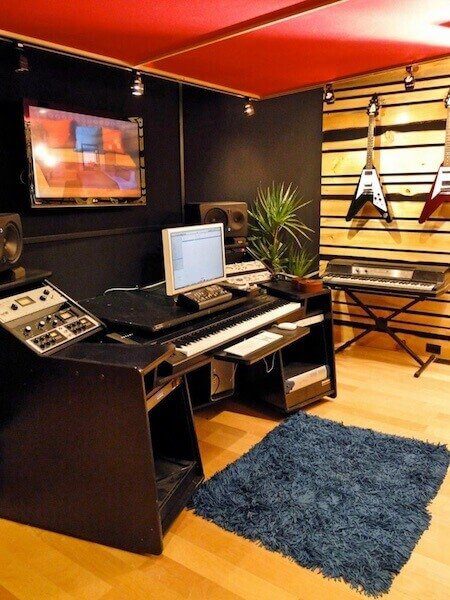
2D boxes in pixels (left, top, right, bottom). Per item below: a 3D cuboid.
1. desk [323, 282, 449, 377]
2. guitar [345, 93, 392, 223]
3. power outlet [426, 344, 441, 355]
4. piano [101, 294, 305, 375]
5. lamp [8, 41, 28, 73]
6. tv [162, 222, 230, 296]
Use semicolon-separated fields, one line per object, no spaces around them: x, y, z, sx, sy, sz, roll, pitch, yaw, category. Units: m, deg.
1.351;0.184;3.924;1.038;0.716;0.711;7;17;29;desk
1.227;-1.192;3.832;0.390;1.051;0.194;5;12;27;guitar
1.770;0.416;3.847;0.124;0.090;0.011;8;14;39;power outlet
-0.024;0.088;2.481;0.457;0.158;1.364;17;15;23;piano
-0.952;-1.132;2.091;0.059;0.125;0.087;-5;11;-19;lamp
-0.150;-0.209;2.381;0.060;0.300;0.437;1;16;37;tv
